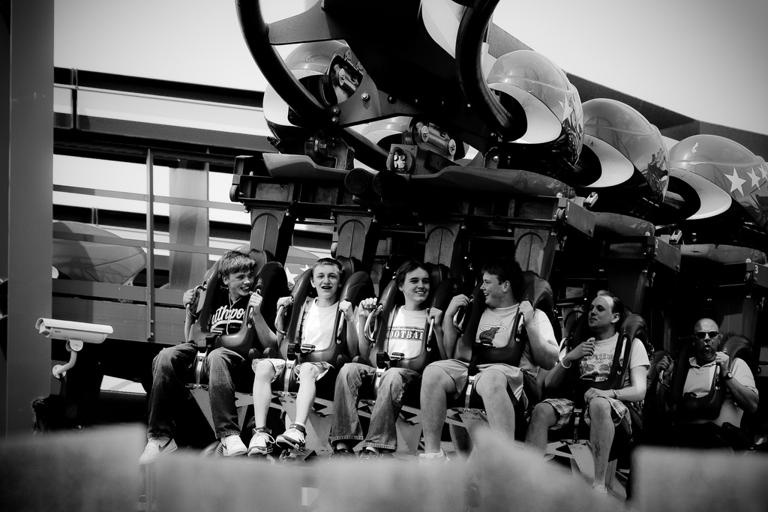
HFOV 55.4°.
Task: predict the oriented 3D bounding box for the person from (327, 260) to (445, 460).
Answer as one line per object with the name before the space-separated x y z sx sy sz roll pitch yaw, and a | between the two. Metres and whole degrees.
person | 0.019 1.012 7.189 0.830 1.921 0.965 1 -1 7

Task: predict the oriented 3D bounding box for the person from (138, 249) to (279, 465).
person | -1.808 0.939 7.626 0.913 2.171 1.172 1 -1 16

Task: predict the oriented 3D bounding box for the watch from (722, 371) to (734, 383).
watch | 4.114 1.441 8.707 0.113 0.081 0.108 -25 -29 14
